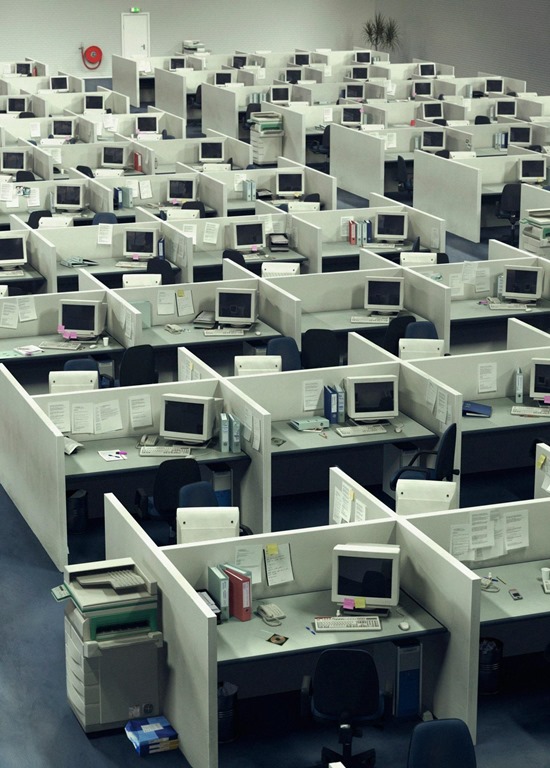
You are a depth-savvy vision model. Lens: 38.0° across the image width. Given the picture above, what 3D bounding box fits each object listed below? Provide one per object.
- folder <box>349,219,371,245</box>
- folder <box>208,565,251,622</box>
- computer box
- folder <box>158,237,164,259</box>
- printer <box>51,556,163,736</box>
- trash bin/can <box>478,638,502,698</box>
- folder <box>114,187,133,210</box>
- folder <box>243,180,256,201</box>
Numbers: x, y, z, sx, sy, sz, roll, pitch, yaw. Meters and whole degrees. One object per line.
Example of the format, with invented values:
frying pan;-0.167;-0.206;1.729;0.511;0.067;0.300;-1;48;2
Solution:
folder;1.093;-1.931;10.178;0.277;0.409;0.314;-3;14;-15
folder;-0.222;0.982;3.788;0.212;0.240;0.182;-1;14;0
computer box;0.599;1.417;3.867;0.189;0.355;0.218;2;-1;-6
folder;-1.383;-1.633;9.628;0.089;0.298;0.176;-1;25;-5
printer;-0.759;1.228;3.723;0.446;0.739;0.469;-7;15;-22
trash bin/can;1.108;1.466;4.115;0.128;0.236;0.156;-1;3;14
folder;-2.174;-2.693;11.506;0.289;0.421;0.281;-6;24;-25
folder;-0.371;-2.807;11.658;0.186;0.352;0.299;-1;19;-7
